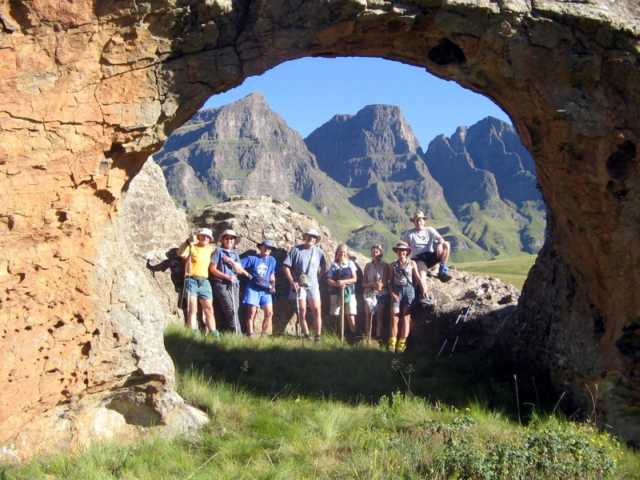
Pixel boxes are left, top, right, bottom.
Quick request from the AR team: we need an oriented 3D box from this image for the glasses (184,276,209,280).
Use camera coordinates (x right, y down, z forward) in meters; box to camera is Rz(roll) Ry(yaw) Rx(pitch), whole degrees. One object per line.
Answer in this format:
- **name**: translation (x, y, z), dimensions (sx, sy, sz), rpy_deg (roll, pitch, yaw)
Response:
- **glasses**: translation (-2.542, 0.790, 15.181), dimensions (0.446, 0.070, 0.135), rpy_deg (6, -2, -31)

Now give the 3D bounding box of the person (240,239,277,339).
- **person**: translation (-1.376, 1.055, 16.307), dimensions (0.789, 1.964, 1.447), rpy_deg (5, -1, -4)

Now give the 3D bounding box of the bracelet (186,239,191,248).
- **bracelet**: translation (-2.739, 0.059, 15.356), dimensions (0.040, 0.124, 0.112), rpy_deg (10, -11, -41)

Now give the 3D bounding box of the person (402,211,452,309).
- **person**: translation (1.969, 0.329, 15.954), dimensions (1.453, 1.648, 0.825), rpy_deg (-16, 16, -42)

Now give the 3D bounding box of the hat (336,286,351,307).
- **hat**: translation (0.592, 1.285, 16.638), dimensions (0.255, 0.406, 0.197), rpy_deg (1, 4, -2)

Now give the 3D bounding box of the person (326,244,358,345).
- **person**: translation (0.520, 1.137, 16.777), dimensions (0.748, 1.829, 1.313), rpy_deg (5, -1, 3)

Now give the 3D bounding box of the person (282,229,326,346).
- **person**: translation (-0.351, 0.957, 16.398), dimensions (0.919, 2.166, 1.315), rpy_deg (5, -1, 0)

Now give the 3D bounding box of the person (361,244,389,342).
- **person**: translation (1.203, 1.151, 16.080), dimensions (0.552, 1.799, 0.681), rpy_deg (4, -1, 5)

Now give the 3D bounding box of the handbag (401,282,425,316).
- **handbag**: translation (1.942, 1.282, 15.601), dimensions (0.356, 0.525, 0.878), rpy_deg (4, -2, 23)

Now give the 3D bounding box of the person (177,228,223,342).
- **person**: translation (-2.514, 0.828, 15.226), dimensions (0.872, 2.088, 1.310), rpy_deg (5, -1, -11)
